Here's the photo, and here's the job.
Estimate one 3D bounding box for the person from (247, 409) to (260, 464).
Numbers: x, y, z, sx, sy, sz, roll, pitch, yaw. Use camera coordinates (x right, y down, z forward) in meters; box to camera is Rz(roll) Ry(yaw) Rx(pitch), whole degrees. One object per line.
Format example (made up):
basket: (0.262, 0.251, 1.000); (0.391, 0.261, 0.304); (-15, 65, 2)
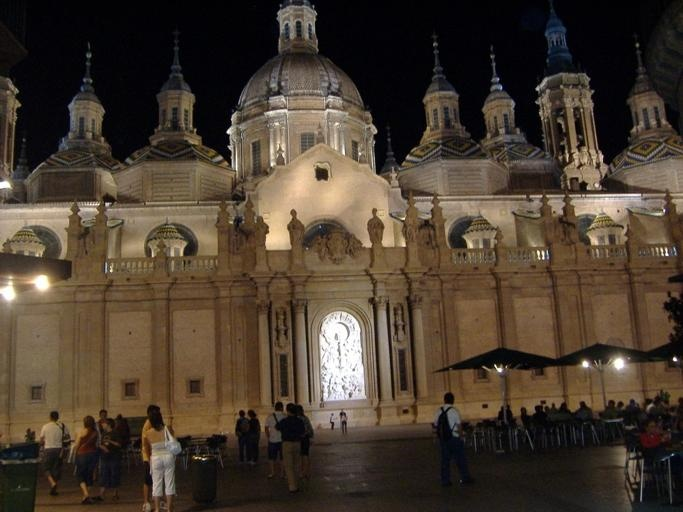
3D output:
person: (-3.045, 6.218, 28.381); (0.418, 1.790, 1.056); (-2, -13, -7)

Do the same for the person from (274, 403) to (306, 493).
person: (-1.367, 5.269, 22.814); (0.724, 2.375, 1.234); (-3, -13, -3)

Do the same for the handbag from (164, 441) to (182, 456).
handbag: (-4.229, 4.821, 20.830); (0.299, 0.376, 0.397); (-2, 0, 0)

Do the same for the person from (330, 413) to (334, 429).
person: (-0.437, 7.362, 36.832); (0.251, 0.719, 0.750); (-3, -13, -1)

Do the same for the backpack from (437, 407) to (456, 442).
backpack: (2.741, 4.500, 22.137); (0.412, 0.873, 0.237); (-4, -14, 4)
